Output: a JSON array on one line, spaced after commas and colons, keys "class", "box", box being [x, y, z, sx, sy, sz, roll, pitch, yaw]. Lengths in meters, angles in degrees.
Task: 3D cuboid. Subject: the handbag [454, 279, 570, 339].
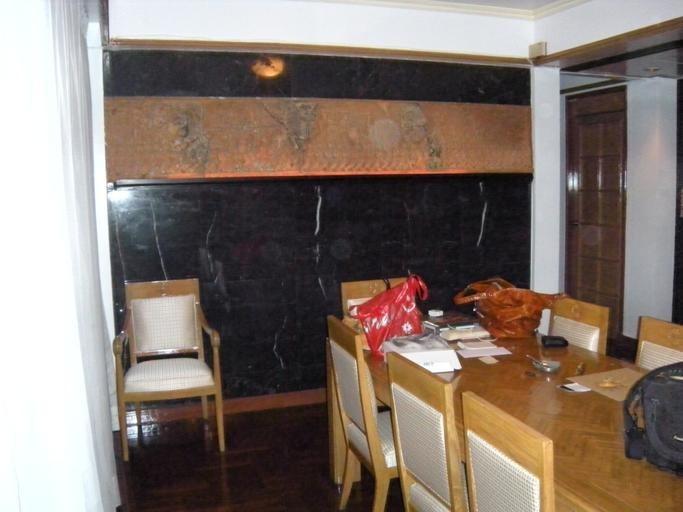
[{"class": "handbag", "box": [1.058, 0.334, 3.507, 0.616, 0.270, 0.649, -2, 5, -12]}]

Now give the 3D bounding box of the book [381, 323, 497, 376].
[{"class": "book", "box": [0.482, 0.500, 2.900, 0.315, 0.075, 0.328, -5, 10, -21]}]
